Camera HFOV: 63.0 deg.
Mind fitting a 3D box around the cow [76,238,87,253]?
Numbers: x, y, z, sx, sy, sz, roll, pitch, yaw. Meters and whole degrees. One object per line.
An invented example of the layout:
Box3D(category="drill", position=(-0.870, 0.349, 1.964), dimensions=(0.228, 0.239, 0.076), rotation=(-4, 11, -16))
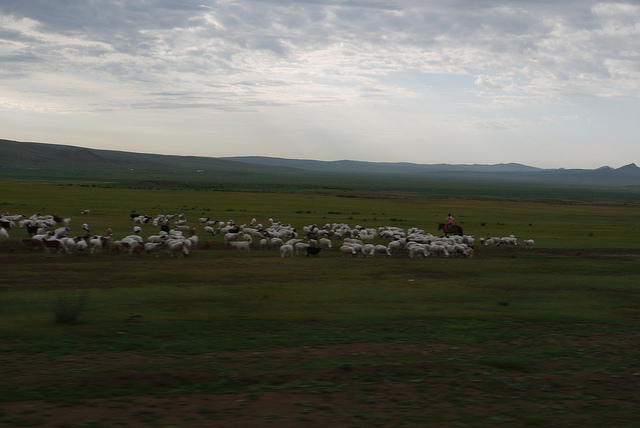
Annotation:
Box3D(category="cow", position=(-15.824, 2.178, 34.838), dimensions=(0.643, 1.011, 1.245), rotation=(-2, 15, -23))

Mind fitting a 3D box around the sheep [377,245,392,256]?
Box3D(category="sheep", position=(4.660, 2.677, 38.192), dimensions=(0.914, 0.871, 1.336), rotation=(7, 14, 9))

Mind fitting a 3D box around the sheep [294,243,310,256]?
Box3D(category="sheep", position=(-1.330, 2.573, 38.329), dimensions=(0.997, 0.947, 1.528), rotation=(4, 13, -3))

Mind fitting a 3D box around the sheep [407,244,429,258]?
Box3D(category="sheep", position=(7.014, 2.664, 38.333), dimensions=(1.443, 0.773, 1.334), rotation=(1, 13, -11))

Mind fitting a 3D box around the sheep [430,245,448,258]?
Box3D(category="sheep", position=(8.692, 2.737, 38.391), dimensions=(1.302, 0.948, 1.275), rotation=(6, 14, 8))

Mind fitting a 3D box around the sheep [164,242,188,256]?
Box3D(category="sheep", position=(-9.457, 2.325, 34.692), dimensions=(1.277, 0.989, 0.492), rotation=(3, 19, -6))

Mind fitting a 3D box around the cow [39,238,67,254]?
Box3D(category="cow", position=(-17.746, 2.096, 35.021), dimensions=(1.147, 0.867, 1.452), rotation=(-6, 16, -33))
